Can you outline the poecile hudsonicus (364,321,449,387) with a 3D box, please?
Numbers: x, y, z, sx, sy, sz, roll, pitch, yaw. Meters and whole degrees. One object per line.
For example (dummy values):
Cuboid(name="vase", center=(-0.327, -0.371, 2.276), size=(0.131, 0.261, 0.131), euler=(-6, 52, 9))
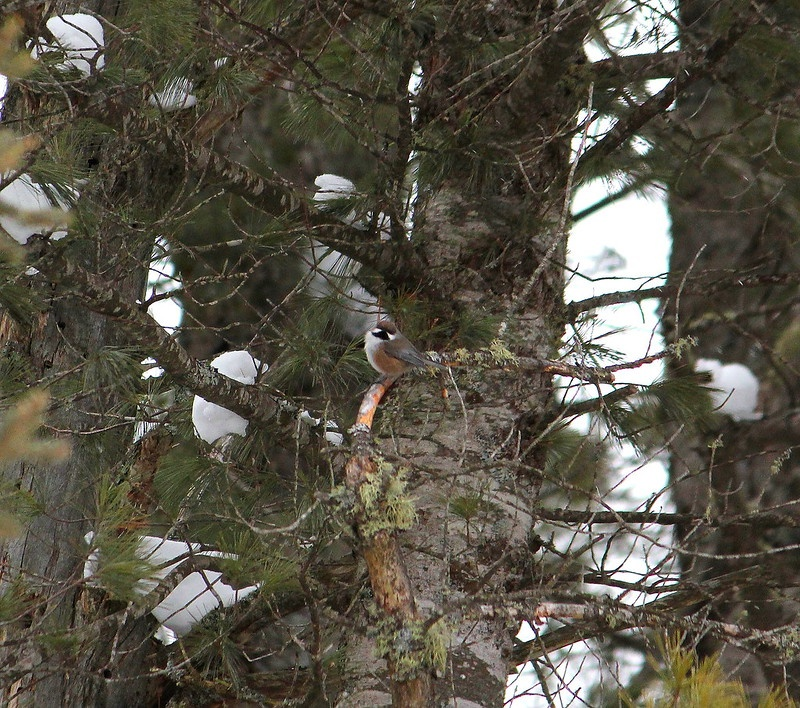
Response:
Cuboid(name="poecile hudsonicus", center=(0.034, -0.010, 6.809), size=(0.335, 0.195, 0.280), euler=(-4, -88, -3))
